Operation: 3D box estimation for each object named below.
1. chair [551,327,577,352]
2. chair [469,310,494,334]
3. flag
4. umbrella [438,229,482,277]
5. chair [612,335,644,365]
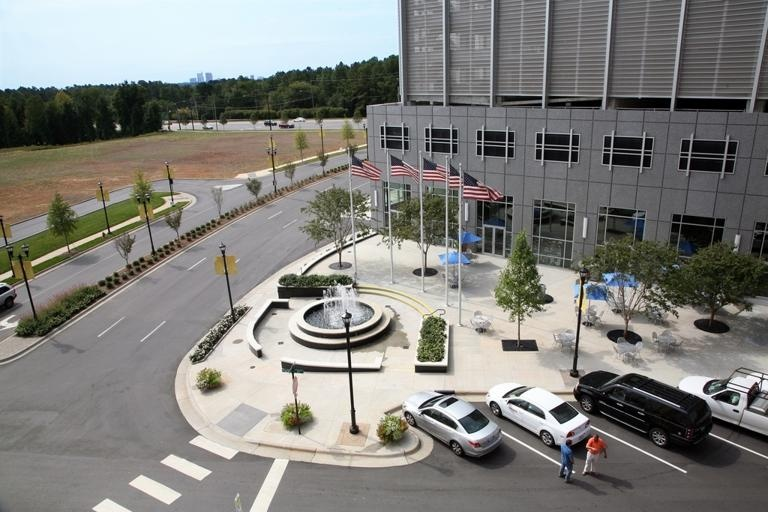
[{"bbox_3d":[10.817,4.959,27.749,1.180,1.210,1.156,3,6,34],"label":"chair"},{"bbox_3d":[6.167,4.205,29.686,1.339,0.959,1.533,3,16,9],"label":"chair"},{"bbox_3d":[3.048,-5.651,31.763,11.071,2.120,3.665,14,20,39],"label":"flag"},{"bbox_3d":[6.014,-0.182,35.802,3.166,2.994,2.916,-16,48,-8],"label":"umbrella"},{"bbox_3d":[14.139,5.367,26.739,1.249,1.324,1.442,-12,13,-4],"label":"chair"}]
